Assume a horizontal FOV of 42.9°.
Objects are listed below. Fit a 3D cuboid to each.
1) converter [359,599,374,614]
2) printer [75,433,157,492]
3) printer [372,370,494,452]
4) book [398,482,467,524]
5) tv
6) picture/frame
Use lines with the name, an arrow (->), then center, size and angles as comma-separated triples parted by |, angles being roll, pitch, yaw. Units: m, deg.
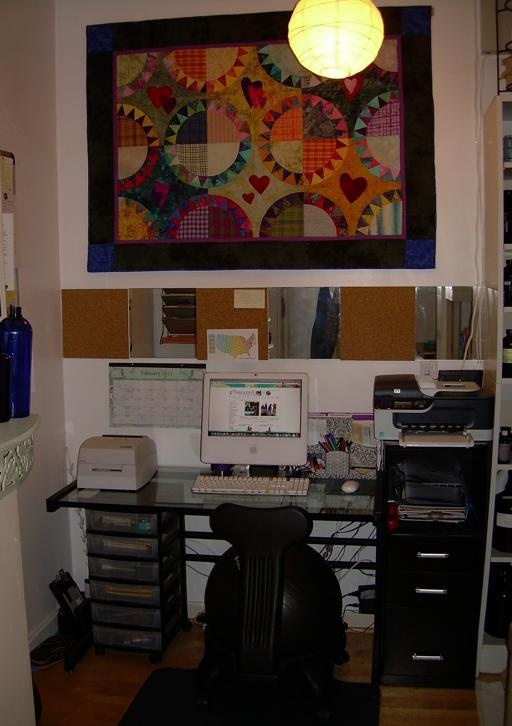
converter -> 0.496, 1.086, 2.918 | 0.057, 0.062, 0.032 | 2, 5, 13
printer -> -0.592, 0.424, 2.729 | 0.198, 0.181, 0.273 | 1, 6, 5
printer -> 0.689, 0.205, 2.534 | 0.446, 0.261, 0.360 | 2, 14, 15
book -> 0.662, 0.521, 2.454 | 0.165, 0.060, 0.176 | 1, 5, 8
tv -> 0.002, 0.250, 2.817 | 0.368, 0.345, 0.030 | 1, -2, 7
picture/frame -> 0.078, -0.965, 2.731 | 1.119, 0.876, 0.017 | 0, 9, 9
